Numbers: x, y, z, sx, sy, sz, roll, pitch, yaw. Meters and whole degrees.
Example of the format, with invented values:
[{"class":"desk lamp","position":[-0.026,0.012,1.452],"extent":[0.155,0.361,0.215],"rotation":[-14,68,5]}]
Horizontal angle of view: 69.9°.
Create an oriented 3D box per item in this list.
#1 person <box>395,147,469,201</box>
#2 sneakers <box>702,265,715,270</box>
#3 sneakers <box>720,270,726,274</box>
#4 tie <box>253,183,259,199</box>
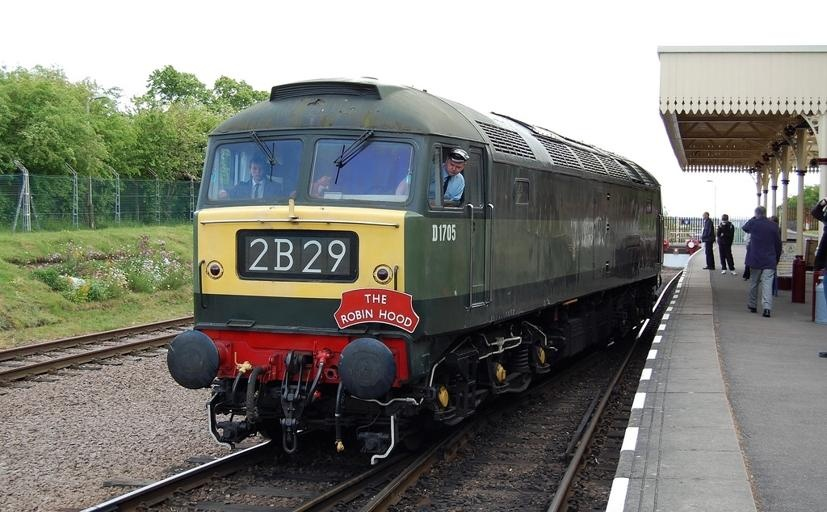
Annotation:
[{"class":"person","position":[0.333,-1.025,7.658],"extent":[0.413,0.632,1.521],"rotation":[8,16,4]},{"class":"sneakers","position":[15.108,0.604,30.457],"extent":[0.183,0.248,0.555],"rotation":[0,4,-26]},{"class":"sneakers","position":[14.779,0.749,28.333],"extent":[0.112,0.156,0.356],"rotation":[0,3,10]},{"class":"tie","position":[-2.093,-0.877,7.960],"extent":[0.128,0.200,0.048],"rotation":[-2,-9,27]}]
